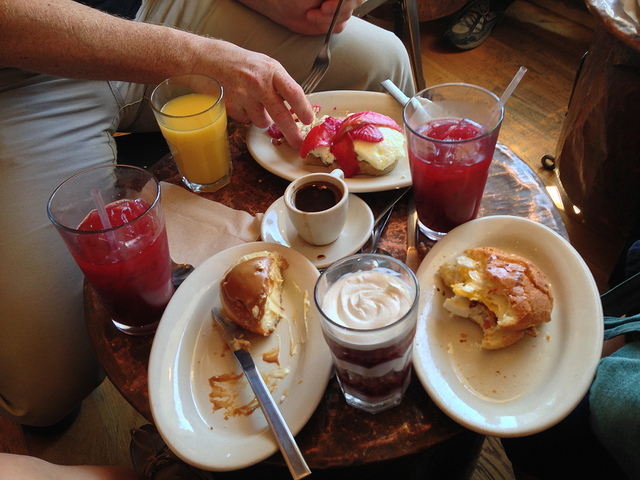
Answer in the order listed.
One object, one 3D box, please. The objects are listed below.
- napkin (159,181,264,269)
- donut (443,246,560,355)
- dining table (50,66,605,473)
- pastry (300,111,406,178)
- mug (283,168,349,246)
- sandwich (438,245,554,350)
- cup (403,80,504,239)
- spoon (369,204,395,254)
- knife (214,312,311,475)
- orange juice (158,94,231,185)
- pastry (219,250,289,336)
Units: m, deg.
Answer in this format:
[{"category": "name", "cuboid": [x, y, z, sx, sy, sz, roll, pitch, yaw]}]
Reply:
[{"category": "napkin", "cuboid": [-0.321, -0.040, 1.331, 0.267, 0.048, 0.225, 13, 57, 11]}, {"category": "donut", "cuboid": [0.413, 0.101, 1.127, 0.251, 0.088, 0.277, -16, 39, -11]}, {"category": "dining table", "cuboid": [-0.045, 0.079, 1.206, 0.845, 0.290, 0.937, 17, 48, 13]}, {"category": "pastry", "cuboid": [0.102, -0.286, 1.461, 0.305, 0.111, 0.223, 14, 56, 8]}, {"category": "mug", "cuboid": [-0.011, -0.083, 1.269, 0.157, 0.125, 0.152, -1, 54, -3]}, {"category": "sandwich", "cuboid": [0.418, 0.105, 1.122, 0.232, 0.096, 0.294, -2, 35, -3]}, {"category": "cup", "cuboid": [0.301, -0.224, 1.295, 0.274, 0.456, 0.307, -3, 40, 8]}, {"category": "spoon", "cuboid": [0.170, -0.038, 1.273, 0.028, 0.035, 0.244, 19, 41, 4]}, {"category": "knife", "cuboid": [-0.129, 0.291, 1.028, 0.083, 0.030, 0.611, -28, 46, 5]}, {"category": "orange juice", "cuboid": [-0.362, -0.319, 1.427, 0.187, 0.174, 0.269, -14, 56, -11]}, {"category": "pastry", "cuboid": [-0.162, 0.106, 1.145, 0.147, 0.075, 0.232, 7, 49, 1]}]
